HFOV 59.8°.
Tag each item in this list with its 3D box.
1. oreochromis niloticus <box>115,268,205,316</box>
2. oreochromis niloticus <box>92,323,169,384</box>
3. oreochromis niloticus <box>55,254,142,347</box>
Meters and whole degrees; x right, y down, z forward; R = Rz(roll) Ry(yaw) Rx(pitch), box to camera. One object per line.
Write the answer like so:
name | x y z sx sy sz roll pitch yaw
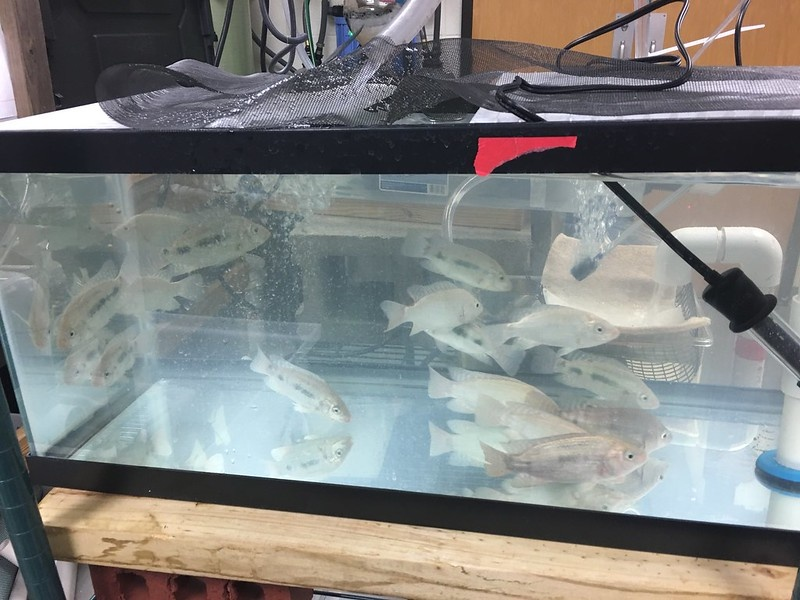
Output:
oreochromis niloticus | -0.351 -0.009 1.000 0.136 0.054 0.018 -2 8 16
oreochromis niloticus | -0.401 0.073 1.060 0.082 0.107 0.090 11 17 31
oreochromis niloticus | -0.437 0.005 1.024 0.044 0.095 0.204 4 35 16
